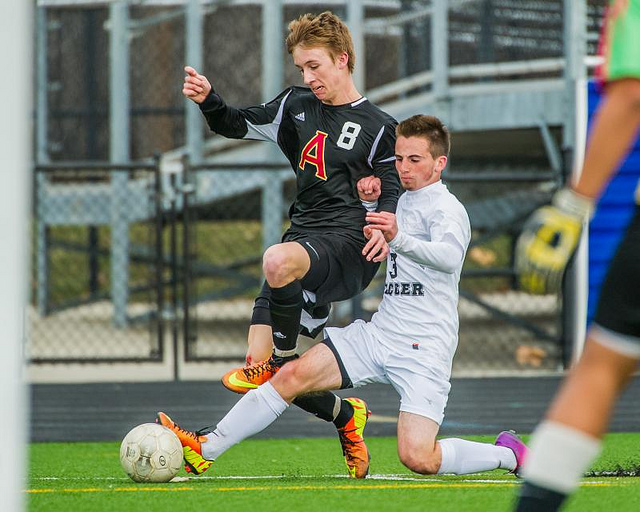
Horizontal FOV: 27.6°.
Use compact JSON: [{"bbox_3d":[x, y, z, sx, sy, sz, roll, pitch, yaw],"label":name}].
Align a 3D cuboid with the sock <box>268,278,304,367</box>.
[{"bbox_3d":[-0.181,0.354,6.781,0.177,0.506,0.192,3,14,-2],"label":"sock"}]
